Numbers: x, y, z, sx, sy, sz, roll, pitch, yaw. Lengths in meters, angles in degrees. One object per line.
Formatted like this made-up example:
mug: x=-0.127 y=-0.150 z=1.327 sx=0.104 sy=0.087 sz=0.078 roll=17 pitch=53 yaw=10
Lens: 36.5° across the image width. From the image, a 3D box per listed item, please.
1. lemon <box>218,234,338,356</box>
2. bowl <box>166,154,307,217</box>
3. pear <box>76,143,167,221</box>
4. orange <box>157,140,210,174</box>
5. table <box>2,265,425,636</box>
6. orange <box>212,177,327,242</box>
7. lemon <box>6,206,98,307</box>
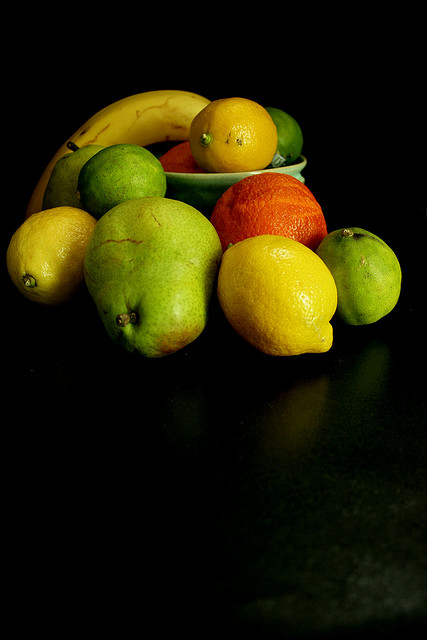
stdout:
lemon: x=0.057 y=-0.023 z=0.655 sx=0.122 sy=0.107 sz=0.112 roll=-8 pitch=22 yaw=-15
bowl: x=0.024 y=-0.183 z=0.887 sx=0.113 sy=0.060 sz=0.112 roll=-3 pitch=10 yaw=1
pear: x=-0.107 y=-0.170 z=0.820 sx=0.102 sy=0.089 sz=0.097 roll=-3 pitch=19 yaw=10
orange: x=-0.040 y=-0.231 z=0.960 sx=0.079 sy=0.055 sz=0.047 roll=7 pitch=59 yaw=4
table: x=0.039 y=0.122 z=0.528 sx=0.288 sy=0.229 sz=0.327 roll=-9 pitch=21 yaw=-8
orange: x=0.062 y=-0.095 z=0.700 sx=0.102 sy=0.075 sz=0.095 roll=7 pitch=-10 yaw=3
lemon: x=-0.183 y=-0.084 z=0.790 sx=0.096 sy=0.094 sz=0.124 roll=10 pitch=23 yaw=35
